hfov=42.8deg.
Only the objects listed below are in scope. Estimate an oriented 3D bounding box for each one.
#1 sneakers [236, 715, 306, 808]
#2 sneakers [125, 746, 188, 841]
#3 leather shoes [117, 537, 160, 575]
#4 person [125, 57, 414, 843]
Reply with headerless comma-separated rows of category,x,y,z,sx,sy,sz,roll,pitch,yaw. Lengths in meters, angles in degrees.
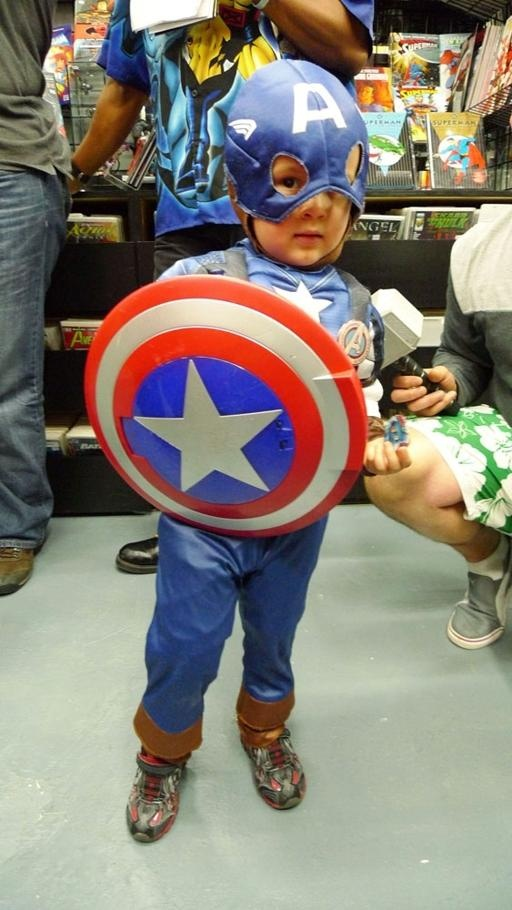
sneakers,0.027,0.409,0.879,0.057,0.059,0.145,-14,22,-12
sneakers,-0.122,0.416,0.808,0.043,0.050,0.124,5,2,2
leather shoes,-0.246,0.230,1.454,0.129,0.053,0.076,6,0,-27
person,-0.014,0.042,0.739,0.356,0.850,0.239,-8,28,-13
